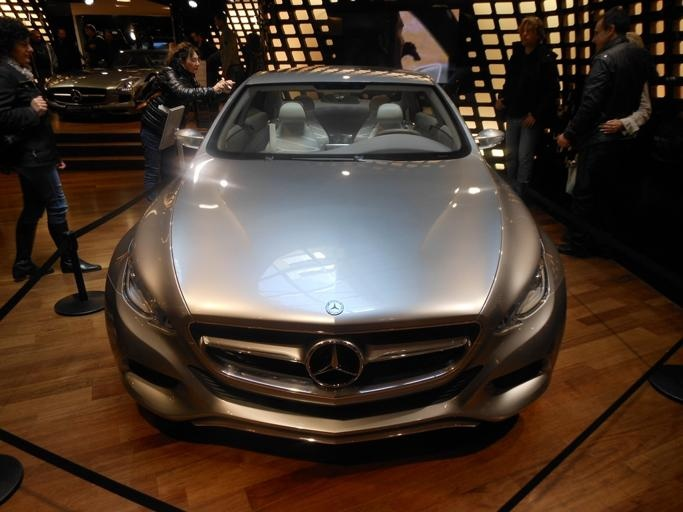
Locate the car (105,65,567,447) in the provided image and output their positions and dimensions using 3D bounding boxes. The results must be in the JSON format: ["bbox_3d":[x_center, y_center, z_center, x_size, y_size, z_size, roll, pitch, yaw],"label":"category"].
[{"bbox_3d":[-0.011,0.014,2.466,1.549,1.026,2.432,1,33,0],"label":"car"}]

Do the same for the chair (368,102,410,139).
[{"bbox_3d":[0.288,-0.818,2.769,0.209,0.298,0.284,2,6,2],"label":"chair"}]

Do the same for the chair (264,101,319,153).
[{"bbox_3d":[-0.302,-0.742,2.917,0.298,0.387,0.434,-1,-17,-4],"label":"chair"}]
